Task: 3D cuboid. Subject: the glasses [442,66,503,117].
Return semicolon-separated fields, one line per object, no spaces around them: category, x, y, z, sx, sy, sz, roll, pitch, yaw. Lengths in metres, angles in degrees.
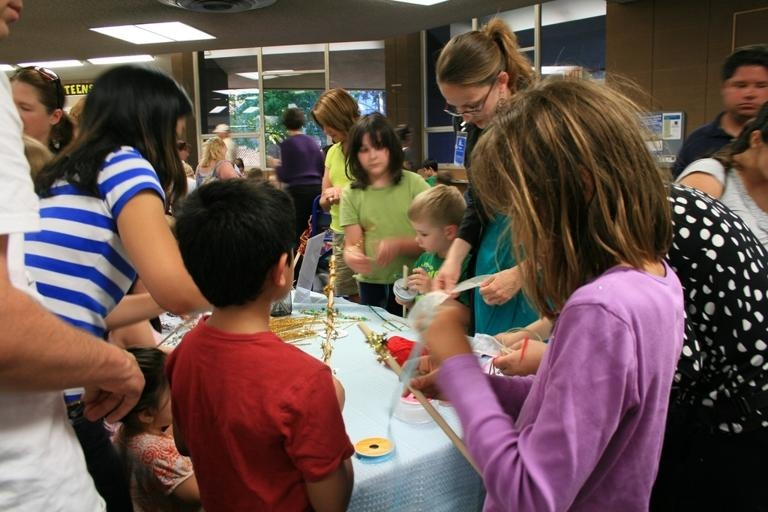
glasses;0.366;-0.651;2.104;0.168;0.095;0.209;2;42;42
